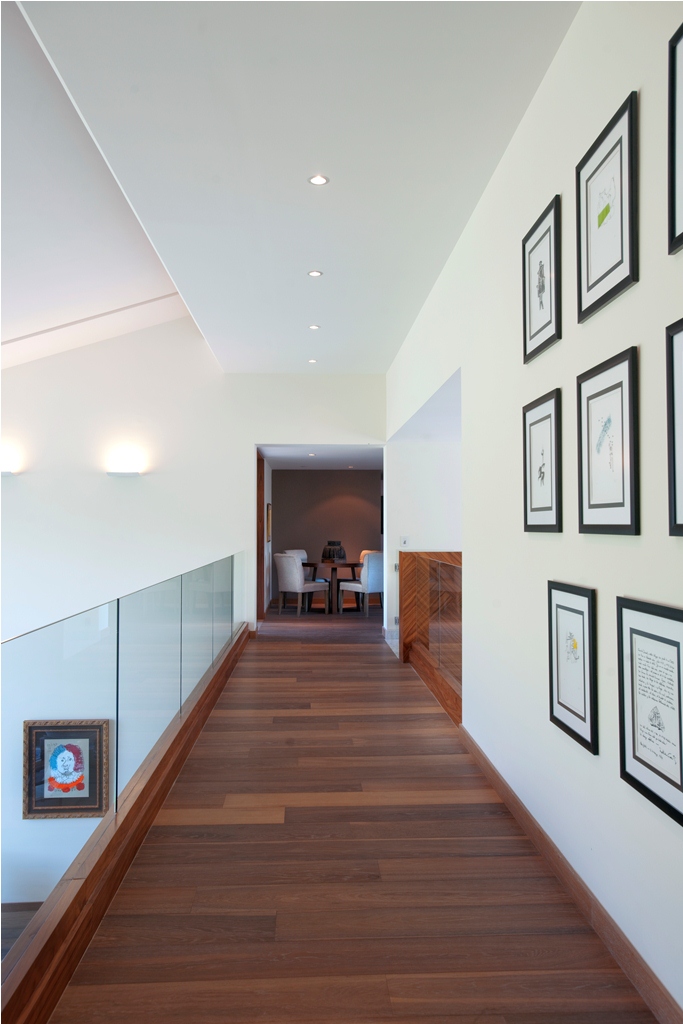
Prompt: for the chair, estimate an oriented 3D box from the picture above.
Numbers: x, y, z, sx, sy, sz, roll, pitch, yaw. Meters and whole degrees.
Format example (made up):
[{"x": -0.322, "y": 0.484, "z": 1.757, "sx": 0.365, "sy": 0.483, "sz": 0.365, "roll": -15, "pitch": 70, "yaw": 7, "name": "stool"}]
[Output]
[{"x": -0.201, "y": 0.908, "z": 8.983, "sx": 1.132, "sy": 0.780, "sz": 0.915, "roll": -2, "pitch": -3, "yaw": -3, "name": "chair"}]
